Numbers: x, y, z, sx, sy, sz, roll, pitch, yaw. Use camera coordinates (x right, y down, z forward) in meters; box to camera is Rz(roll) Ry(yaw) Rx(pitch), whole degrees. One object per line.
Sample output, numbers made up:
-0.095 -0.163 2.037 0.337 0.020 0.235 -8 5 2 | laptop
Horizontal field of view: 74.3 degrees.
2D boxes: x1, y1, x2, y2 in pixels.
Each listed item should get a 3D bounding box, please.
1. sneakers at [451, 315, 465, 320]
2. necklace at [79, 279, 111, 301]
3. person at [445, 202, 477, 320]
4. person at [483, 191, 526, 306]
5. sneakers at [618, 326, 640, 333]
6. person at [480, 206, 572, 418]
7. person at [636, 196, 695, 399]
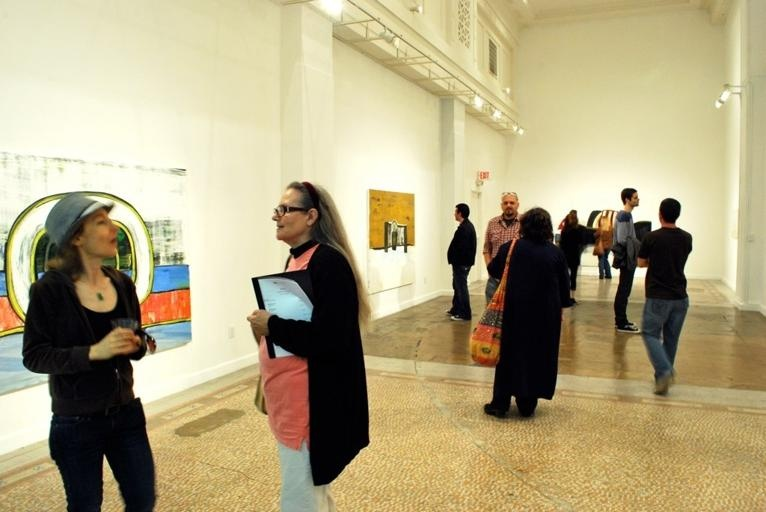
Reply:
1.368 1.123 9.273 0.205 0.058 0.084 3 -2 -6 | sneakers
-1.564 0.186 2.750 0.035 0.127 0.132 -3 0 39 | necklace
1.431 0.108 9.281 0.472 2.119 0.611 0 7 7 | person
1.771 0.122 7.506 0.610 2.035 0.478 4 20 11 | person
4.001 1.190 8.228 0.318 0.130 0.119 -1 2 23 | sneakers
1.405 0.575 4.956 0.746 2.061 0.368 2 7 20 | person
3.122 0.422 5.679 0.491 2.102 0.697 5 9 38 | person
